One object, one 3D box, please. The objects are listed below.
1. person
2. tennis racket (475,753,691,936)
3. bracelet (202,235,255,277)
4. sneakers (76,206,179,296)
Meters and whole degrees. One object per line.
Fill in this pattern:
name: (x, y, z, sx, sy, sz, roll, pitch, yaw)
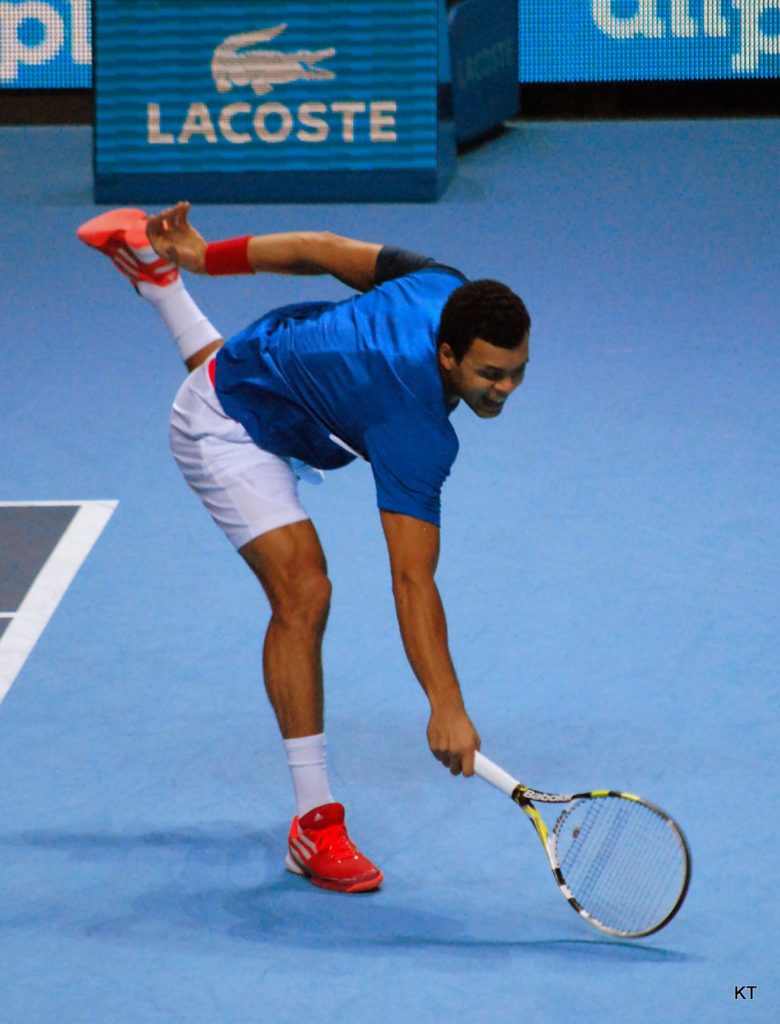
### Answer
person: (-0.112, 0.055, 3.459, 0.555, 1.529, 0.983, -5, 11, -25)
tennis racket: (0.406, 0.678, 3.275, 0.433, 0.380, 0.742, 1, 8, 8)
bracelet: (-0.397, -0.610, 3.691, 0.114, 0.082, 0.115, -3, -17, -22)
sneakers: (-0.622, -0.694, 3.961, 0.132, 0.168, 0.373, -38, 41, -22)
